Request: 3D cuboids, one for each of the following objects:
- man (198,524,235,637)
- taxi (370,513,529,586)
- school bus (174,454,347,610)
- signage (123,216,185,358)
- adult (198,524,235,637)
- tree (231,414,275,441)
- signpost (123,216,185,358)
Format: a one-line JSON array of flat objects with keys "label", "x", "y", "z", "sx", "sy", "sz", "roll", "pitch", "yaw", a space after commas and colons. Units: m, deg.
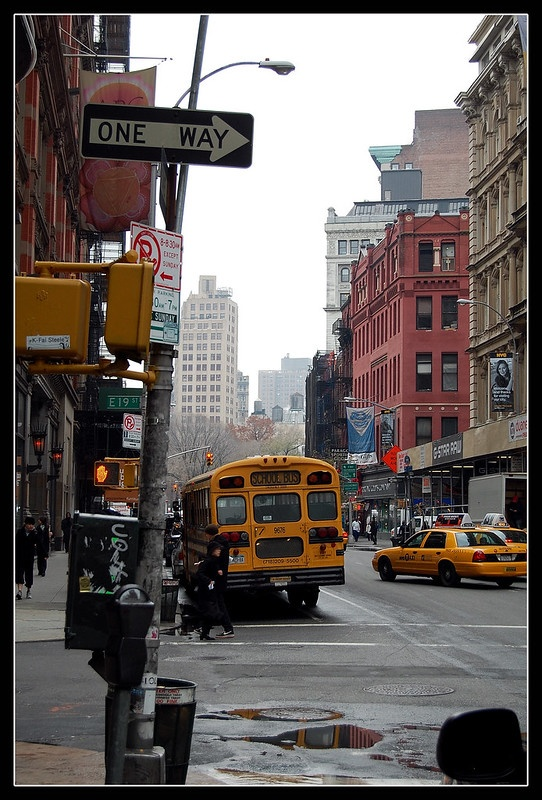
[{"label": "man", "x": -0.824, "y": 2.885, "z": 16.820, "sx": 0.491, "sy": 1.718, "sz": 1.520, "roll": 2, "pitch": -5, "yaw": -4}, {"label": "taxi", "x": 4.415, "y": 3.899, "z": 26.048, "sx": 1.016, "sy": 1.476, "sz": 4.503, "roll": 5, "pitch": -7, "yaw": -31}, {"label": "school bus", "x": -0.185, "y": 2.436, "z": 20.574, "sx": 1.781, "sy": 2.283, "sz": 3.926, "roll": 0, "pitch": -4, "yaw": -12}, {"label": "signage", "x": -0.710, "y": -0.729, "z": 6.378, "sx": 0.323, "sy": 0.820, "sz": 0.661, "roll": 3, "pitch": -5, "yaw": -6}, {"label": "adult", "x": -0.829, "y": 2.893, "z": 16.885, "sx": 0.491, "sy": 1.718, "sz": 1.651, "roll": 2, "pitch": -5, "yaw": -4}, {"label": "tree", "x": -2.345, "y": 4.242, "z": 154.399, "sx": 3.453, "sy": 4.512, "sz": 3.591, "roll": -3, "pitch": -5, "yaw": 28}, {"label": "signpost", "x": -0.710, "y": -0.729, "z": 6.378, "sx": 0.323, "sy": 0.820, "sz": 0.661, "roll": 3, "pitch": -5, "yaw": -6}]
